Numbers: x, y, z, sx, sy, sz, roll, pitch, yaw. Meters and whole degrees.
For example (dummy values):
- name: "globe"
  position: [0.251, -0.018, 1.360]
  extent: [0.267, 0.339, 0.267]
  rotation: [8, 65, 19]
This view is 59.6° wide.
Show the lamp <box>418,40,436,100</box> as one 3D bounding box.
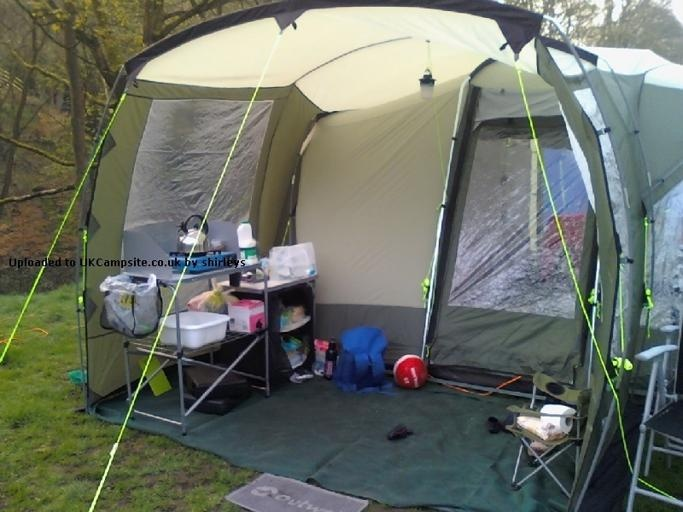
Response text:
- name: "lamp"
  position: [0.721, -1.594, 5.027]
  extent: [0.152, 0.445, 0.139]
  rotation: [8, 11, 37]

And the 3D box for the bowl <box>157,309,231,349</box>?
- name: "bowl"
  position: [-1.103, 0.519, 4.625]
  extent: [0.323, 0.146, 0.391]
  rotation: [0, 0, 30]

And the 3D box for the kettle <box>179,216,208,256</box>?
- name: "kettle"
  position: [-1.182, -0.167, 4.689]
  extent: [0.192, 0.316, 0.312]
  rotation: [7, 3, 40]

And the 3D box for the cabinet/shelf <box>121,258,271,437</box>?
- name: "cabinet/shelf"
  position: [-1.176, 0.654, 4.877]
  extent: [0.760, 1.189, 1.057]
  rotation: [-1, 2, 42]

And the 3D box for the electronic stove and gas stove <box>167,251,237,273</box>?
- name: "electronic stove and gas stove"
  position: [-1.082, 0.048, 4.715]
  extent: [0.585, 0.171, 0.384]
  rotation: [1, 0, -27]

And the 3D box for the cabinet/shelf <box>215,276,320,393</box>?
- name: "cabinet/shelf"
  position: [-0.578, 0.728, 5.696]
  extent: [0.815, 1.160, 1.104]
  rotation: [2, 6, 23]

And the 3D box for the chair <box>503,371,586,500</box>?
- name: "chair"
  position: [1.350, 1.102, 4.213]
  extent: [0.631, 0.960, 0.833]
  rotation: [1, 3, 20]

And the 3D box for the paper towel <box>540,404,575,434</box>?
- name: "paper towel"
  position: [1.376, 1.056, 3.812]
  extent: [0.212, 0.150, 0.247]
  rotation: [1, 1, 21]

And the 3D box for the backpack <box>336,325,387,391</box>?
- name: "backpack"
  position: [0.209, 0.931, 5.473]
  extent: [0.507, 0.546, 0.475]
  rotation: [-5, 5, -25]

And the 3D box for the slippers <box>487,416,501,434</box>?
- name: "slippers"
  position: [1.161, 1.300, 4.566]
  extent: [0.078, 0.120, 0.116]
  rotation: [-9, -15, 17]
